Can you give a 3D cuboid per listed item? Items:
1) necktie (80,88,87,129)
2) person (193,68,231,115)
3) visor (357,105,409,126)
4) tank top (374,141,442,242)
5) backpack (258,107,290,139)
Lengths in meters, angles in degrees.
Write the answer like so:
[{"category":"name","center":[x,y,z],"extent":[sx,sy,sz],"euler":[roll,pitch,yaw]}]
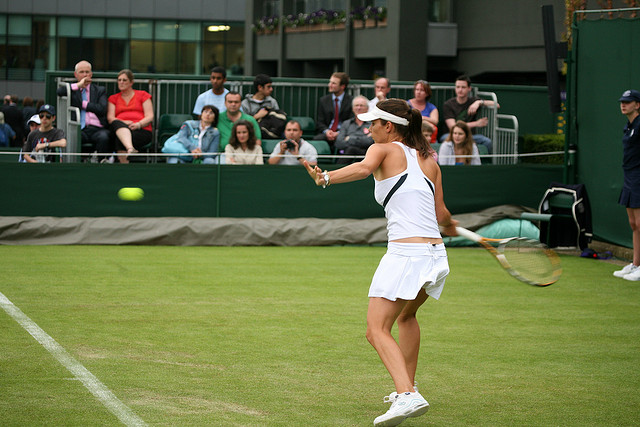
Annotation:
[{"category":"necktie","center":[-4.750,-2.086,19.198],"extent":[0.147,0.798,0.102],"euler":[-4,13,-26]},{"category":"person","center":[-2.207,-2.521,19.994],"extent":[0.568,1.135,1.095],"euler":[0,-6,0]},{"category":"visor","center":[0.780,-1.165,11.684],"extent":[0.464,0.133,0.276],"euler":[13,0,11]},{"category":"tank top","center":[1.064,-0.253,11.584],"extent":[0.803,1.156,0.449],"euler":[2,12,6]},{"category":"backpack","center":[-0.997,-1.785,20.242],"extent":[0.577,0.585,0.412],"euler":[8,-9,-34]}]
